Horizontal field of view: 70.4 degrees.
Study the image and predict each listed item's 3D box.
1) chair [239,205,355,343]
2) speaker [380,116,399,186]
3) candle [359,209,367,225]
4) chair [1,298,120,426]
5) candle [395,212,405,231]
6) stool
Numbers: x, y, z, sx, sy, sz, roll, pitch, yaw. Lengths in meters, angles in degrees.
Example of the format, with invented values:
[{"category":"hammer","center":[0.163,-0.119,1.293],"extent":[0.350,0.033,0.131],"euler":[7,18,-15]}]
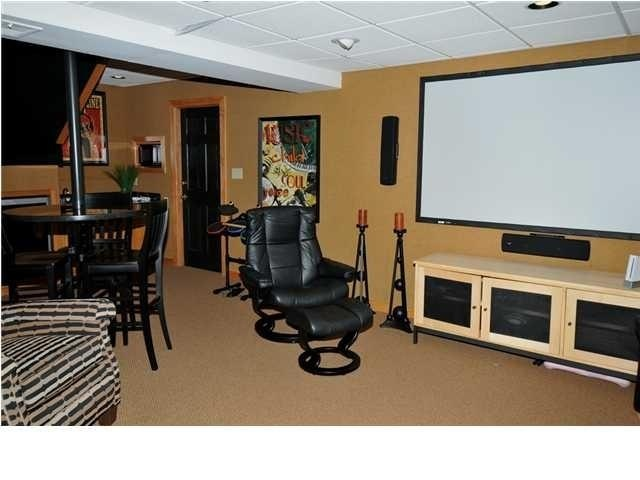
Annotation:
[{"category":"chair","center":[-0.227,0.312,4.175],"extent":[0.980,1.083,0.970],"euler":[4,11,7]},{"category":"speaker","center":[0.748,-0.931,4.783],"extent":[0.210,0.706,0.167],"euler":[7,12,44]},{"category":"candle","center":[0.448,-0.236,4.746],"extent":[0.080,0.156,0.111],"euler":[1,12,1]},{"category":"chair","center":[-1.502,0.654,2.679],"extent":[0.760,0.647,0.705],"euler":[-2,1,-39]},{"category":"candle","center":[0.788,-0.185,4.489],"extent":[0.089,0.159,0.147],"euler":[1,12,4]},{"category":"stool","center":[0.070,0.700,3.692],"extent":[0.704,0.529,0.567],"euler":[-5,8,-36]}]
